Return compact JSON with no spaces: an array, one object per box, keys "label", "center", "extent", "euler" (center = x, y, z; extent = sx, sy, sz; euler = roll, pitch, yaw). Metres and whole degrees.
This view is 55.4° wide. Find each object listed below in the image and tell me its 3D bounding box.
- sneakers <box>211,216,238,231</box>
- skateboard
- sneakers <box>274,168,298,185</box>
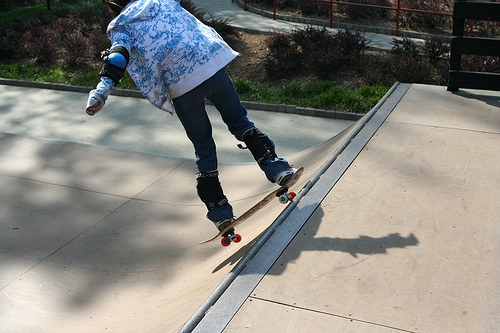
[{"label":"sneakers","center":[-0.263,0.573,4.982],"extent":[0.206,0.100,0.112],"euler":[-21,25,50]},{"label":"skateboard","center":[0.017,0.431,5.179],"extent":[1.181,0.193,0.245],"euler":[-38,-7,-1]},{"label":"sneakers","center":[0.360,0.084,4.959],"extent":[0.292,0.112,0.128],"euler":[-24,21,-2]}]
